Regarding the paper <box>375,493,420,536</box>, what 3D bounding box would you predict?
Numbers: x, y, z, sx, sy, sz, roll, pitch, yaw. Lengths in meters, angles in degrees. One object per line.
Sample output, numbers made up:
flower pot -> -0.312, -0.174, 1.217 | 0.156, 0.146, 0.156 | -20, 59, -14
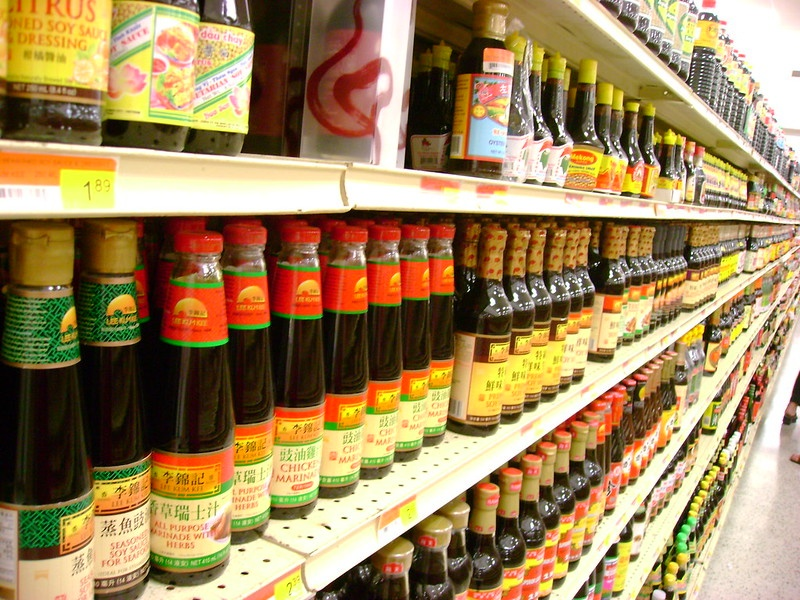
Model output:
paper -> -0.005, 0.386, 1.080 | 0.023, 0.055, 0.122 | -2, -8, 33
